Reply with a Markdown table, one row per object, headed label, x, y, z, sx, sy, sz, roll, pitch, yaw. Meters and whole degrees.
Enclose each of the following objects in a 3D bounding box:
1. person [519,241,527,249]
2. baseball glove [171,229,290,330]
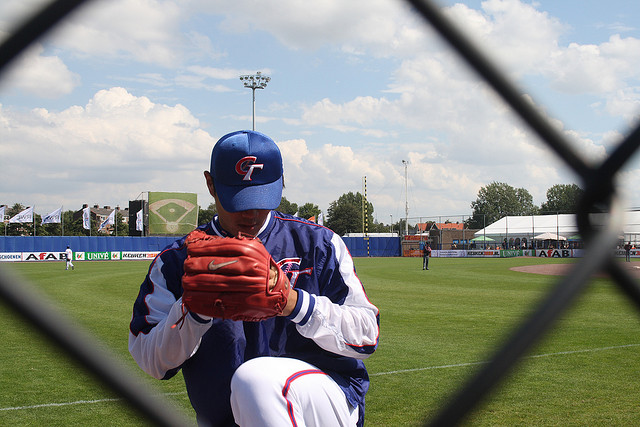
| label | x | y | z | sx | sy | sz | roll | pitch | yaw |
| --- | --- | --- | --- | --- | --- | --- | --- | --- | --- |
| person | 12.829 | 2.048 | 41.025 | 0.498 | 0.502 | 0.805 | -2 | -9 | 2 |
| baseball glove | -0.583 | 0.418 | 3.597 | 0.504 | 0.319 | 0.680 | 15 | 10 | 6 |
